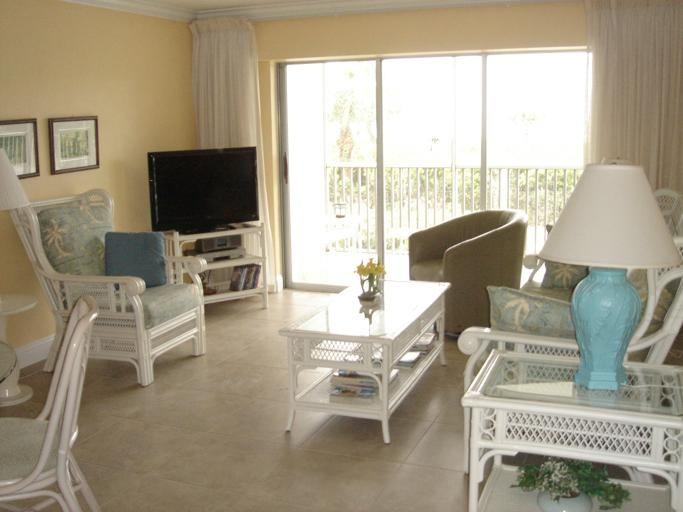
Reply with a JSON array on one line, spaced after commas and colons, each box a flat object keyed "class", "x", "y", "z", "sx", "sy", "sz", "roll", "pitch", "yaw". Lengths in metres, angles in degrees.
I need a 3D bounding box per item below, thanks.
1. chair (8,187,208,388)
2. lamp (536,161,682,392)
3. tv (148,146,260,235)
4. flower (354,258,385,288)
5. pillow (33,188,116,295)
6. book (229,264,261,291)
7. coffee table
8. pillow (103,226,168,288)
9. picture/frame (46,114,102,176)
[{"class": "chair", "x": -1.890, "y": 0.104, "z": 4.940, "sx": 1.607, "sy": 1.796, "sz": 1.277, "roll": 4, "pitch": 11, "yaw": 19}, {"class": "lamp", "x": 1.035, "y": 0.091, "z": 2.116, "sx": 0.507, "sy": 0.873, "sz": 0.251, "roll": 4, "pitch": 13, "yaw": 21}, {"class": "tv", "x": -1.434, "y": -0.661, "z": 5.545, "sx": 0.855, "sy": 0.631, "sz": 0.237, "roll": -9, "pitch": 15, "yaw": -28}, {"class": "flower", "x": 0.223, "y": 0.124, "z": 3.933, "sx": 0.200, "sy": 0.223, "sz": 0.215, "roll": 2, "pitch": 1, "yaw": -17}, {"class": "pillow", "x": -2.153, "y": -0.178, "z": 4.416, "sx": 0.161, "sy": 0.634, "sz": 0.611, "roll": -13, "pitch": -5, "yaw": 38}, {"class": "book", "x": -1.038, "y": 0.240, "z": 5.868, "sx": 0.237, "sy": 0.340, "sz": 0.102, "roll": 7, "pitch": -6, "yaw": -12}, {"class": "coffee table", "x": 0.146, "y": 0.258, "z": 3.542, "sx": 0.782, "sy": 0.746, "sz": 1.570, "roll": 2, "pitch": 9, "yaw": 17}, {"class": "pillow", "x": -1.688, "y": 0.029, "z": 4.430, "sx": 0.480, "sy": 0.484, "sz": 0.171, "roll": -4, "pitch": -5, "yaw": -10}, {"class": "picture/frame", "x": -2.382, "y": -0.982, "z": 4.796, "sx": 0.039, "sy": 0.479, "sz": 0.564, "roll": 3, "pitch": 9, "yaw": 24}]
